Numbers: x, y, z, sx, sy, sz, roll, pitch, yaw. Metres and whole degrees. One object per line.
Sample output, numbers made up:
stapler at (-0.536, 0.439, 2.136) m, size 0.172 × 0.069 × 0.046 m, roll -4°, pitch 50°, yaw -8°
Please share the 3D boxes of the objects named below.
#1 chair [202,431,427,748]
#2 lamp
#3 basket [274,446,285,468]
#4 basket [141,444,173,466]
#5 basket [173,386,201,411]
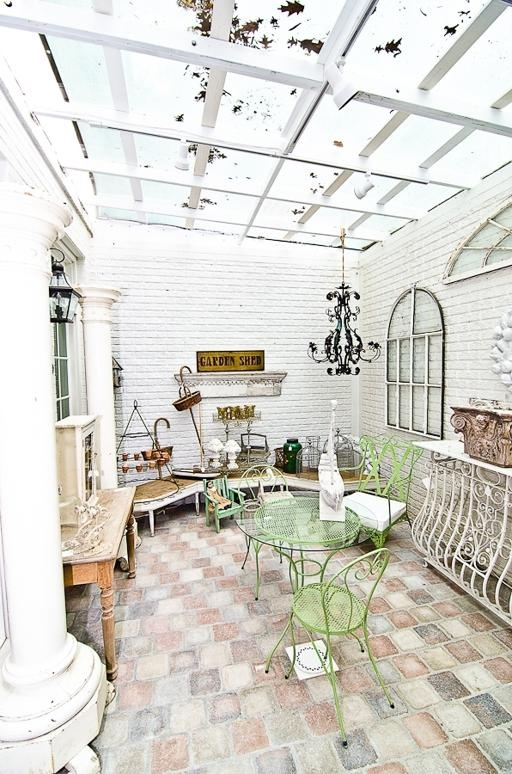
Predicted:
chair at (0.424, 1.250, 3.170) m, size 0.678 × 0.791 × 1.568 m, roll 0°, pitch 1°, yaw -6°
lamp at (0.920, -0.848, 5.177) m, size 0.865 × 1.670 × 2.518 m, roll 1°, pitch 8°, yaw 15°
basket at (0.296, 0.855, 5.834) m, size 0.198 × 0.200 × 0.198 m, roll 0°, pitch 1°, yaw 19°
basket at (-1.067, 0.733, 5.160) m, size 0.228 × 0.113 × 0.272 m, roll -1°, pitch -13°, yaw 4°
basket at (-0.788, 0.107, 5.314) m, size 0.223 × 0.185 × 0.124 m, roll -32°, pitch 10°, yaw -9°
